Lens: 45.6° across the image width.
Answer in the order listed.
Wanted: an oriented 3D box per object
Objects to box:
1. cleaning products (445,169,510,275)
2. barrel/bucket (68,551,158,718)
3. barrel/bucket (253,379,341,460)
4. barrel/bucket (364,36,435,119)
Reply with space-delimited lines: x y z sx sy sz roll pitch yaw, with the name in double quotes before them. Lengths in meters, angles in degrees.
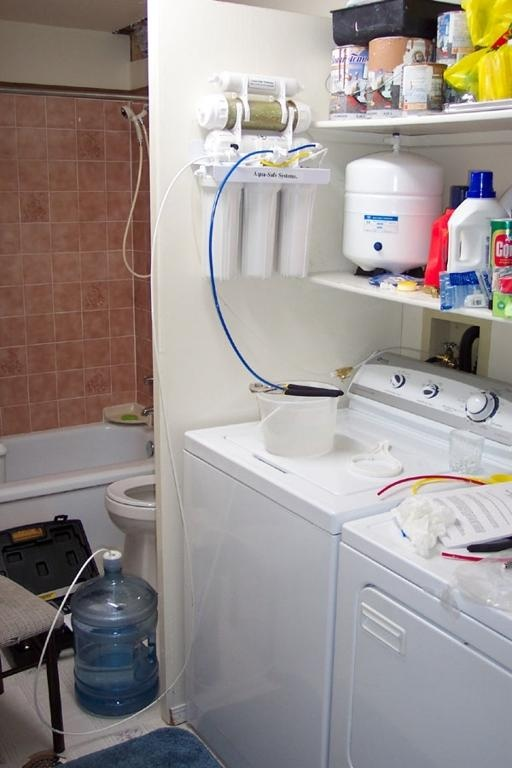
"cleaning products" 0.395 -0.286 1.089 0.098 0.174 0.067 3 10 19
"barrel/bucket" -0.420 0.722 1.820 0.248 0.459 0.208 -3 10 -19
"barrel/bucket" 0.090 0.075 1.340 0.162 0.110 0.139 3 9 18
"barrel/bucket" 0.270 -0.600 1.246 0.144 0.159 0.142 0 17 0
